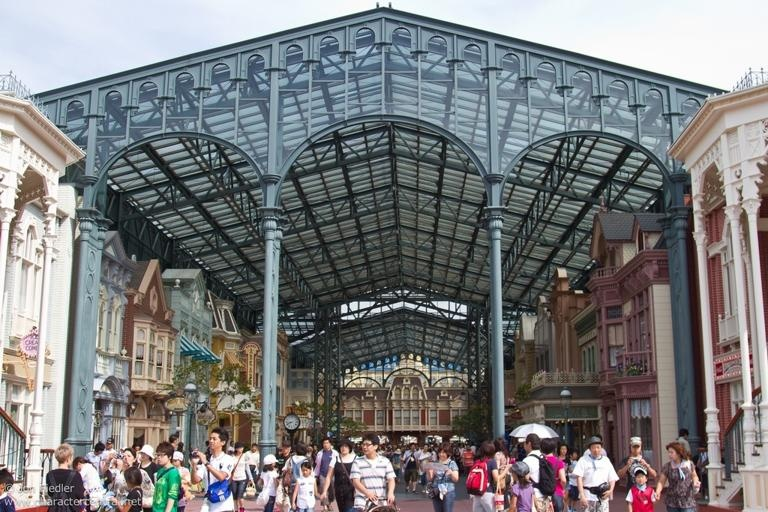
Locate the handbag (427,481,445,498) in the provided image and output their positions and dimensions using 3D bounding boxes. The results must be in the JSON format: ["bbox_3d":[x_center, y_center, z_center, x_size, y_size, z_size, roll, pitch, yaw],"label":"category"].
[{"bbox_3d":[1.482,6.362,24.550,0.203,0.557,0.810,7,-24,-21],"label":"handbag"}]

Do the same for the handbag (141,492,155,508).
[{"bbox_3d":[-5.300,5.512,20.479,0.290,0.286,0.290,-5,-20,9],"label":"handbag"}]

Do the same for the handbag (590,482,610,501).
[{"bbox_3d":[5.335,5.849,22.502,0.472,0.316,0.360,-2,-11,6],"label":"handbag"}]

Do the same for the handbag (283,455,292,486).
[{"bbox_3d":[-2.830,6.341,26.544,0.251,0.666,0.487,1,-8,-12],"label":"handbag"}]

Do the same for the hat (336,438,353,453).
[{"bbox_3d":[-0.911,4.567,21.862,0.328,0.413,0.444,0,-22,-3],"label":"hat"}]

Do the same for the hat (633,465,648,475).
[{"bbox_3d":[6.142,5.173,21.860,0.312,0.234,0.437,-7,-23,14],"label":"hat"}]

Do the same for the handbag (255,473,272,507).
[{"bbox_3d":[-3.331,6.596,25.840,0.438,0.959,0.827,1,-22,-6],"label":"handbag"}]

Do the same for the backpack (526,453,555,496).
[{"bbox_3d":[3.935,5.378,22.351,0.276,0.994,0.892,-20,-28,38],"label":"backpack"}]

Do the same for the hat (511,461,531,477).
[{"bbox_3d":[3.149,4.920,20.885,0.282,0.198,0.377,-15,28,-26],"label":"hat"}]

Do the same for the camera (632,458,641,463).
[{"bbox_3d":[6.337,5.146,22.758,0.091,0.102,0.462,-13,-25,26],"label":"camera"}]

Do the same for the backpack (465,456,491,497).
[{"bbox_3d":[2.284,5.376,22.049,0.540,0.881,0.420,-1,-22,0],"label":"backpack"}]

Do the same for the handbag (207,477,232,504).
[{"bbox_3d":[-3.755,5.347,20.601,0.544,0.573,0.332,-9,-8,-7],"label":"handbag"}]
